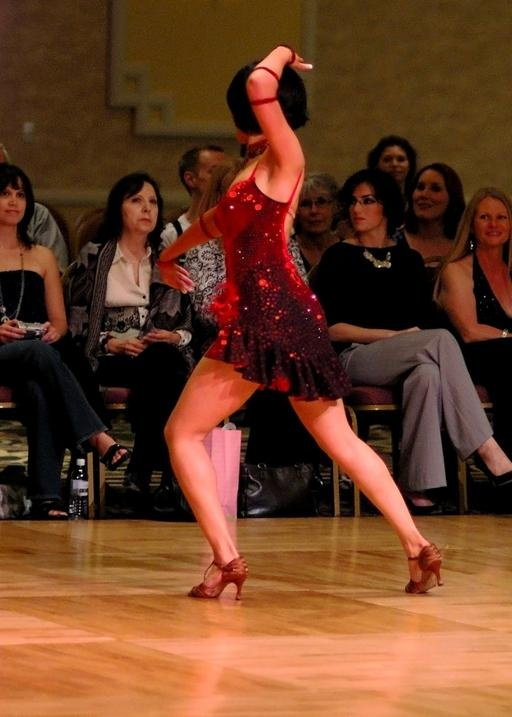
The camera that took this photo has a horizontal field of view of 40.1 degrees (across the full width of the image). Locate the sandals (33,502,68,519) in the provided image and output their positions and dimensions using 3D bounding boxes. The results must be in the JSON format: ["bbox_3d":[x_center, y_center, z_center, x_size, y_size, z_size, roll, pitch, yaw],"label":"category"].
[{"bbox_3d":[-0.990,0.722,3.337,0.225,0.070,0.072,-3,-6,25],"label":"sandals"}]

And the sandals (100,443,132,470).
[{"bbox_3d":[-0.700,0.486,3.486,0.122,0.133,0.139,0,3,-30],"label":"sandals"}]

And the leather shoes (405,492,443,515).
[{"bbox_3d":[0.902,0.754,3.637,0.303,0.096,0.094,10,-13,-25],"label":"leather shoes"}]

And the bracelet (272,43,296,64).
[{"bbox_3d":[0.068,-0.776,1.777,0.052,0.024,0.062,3,9,-42],"label":"bracelet"}]

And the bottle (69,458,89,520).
[{"bbox_3d":[-0.863,0.624,3.425,0.095,0.270,0.352,1,2,-14],"label":"bottle"}]

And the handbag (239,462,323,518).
[{"bbox_3d":[0.106,0.660,3.485,0.399,0.192,0.136,-1,1,-17],"label":"handbag"}]

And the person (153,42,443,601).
[{"bbox_3d":[0.109,-0.077,1.856,0.702,1.467,0.359,1,3,-11],"label":"person"}]
